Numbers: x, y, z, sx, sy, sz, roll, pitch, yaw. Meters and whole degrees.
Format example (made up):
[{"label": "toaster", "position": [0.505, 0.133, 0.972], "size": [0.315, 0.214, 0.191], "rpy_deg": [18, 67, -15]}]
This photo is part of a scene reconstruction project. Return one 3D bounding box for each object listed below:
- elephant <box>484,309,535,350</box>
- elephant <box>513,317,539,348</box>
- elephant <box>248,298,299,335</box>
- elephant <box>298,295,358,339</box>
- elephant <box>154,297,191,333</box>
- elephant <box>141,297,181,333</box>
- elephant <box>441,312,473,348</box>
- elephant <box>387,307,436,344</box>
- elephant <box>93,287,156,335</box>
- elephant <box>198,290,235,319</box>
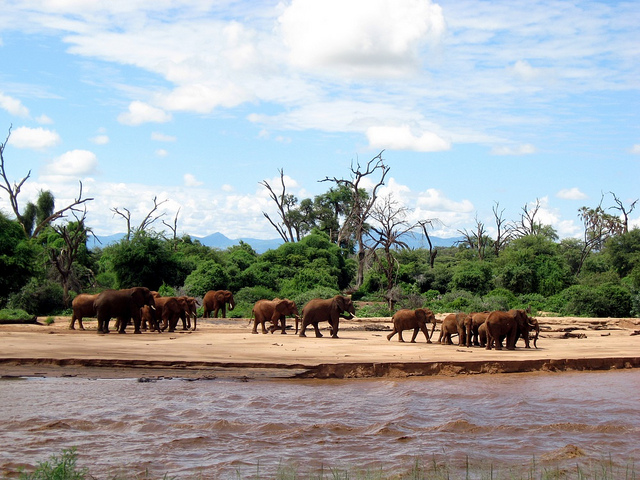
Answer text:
[{"label": "elephant", "position": [6.599, 3.088, 25.437], "size": [2.042, 1.356, 0.975], "rpy_deg": [1, -5, -23]}, {"label": "elephant", "position": [7.330, 3.262, 25.941], "size": [1.380, 1.027, 0.693], "rpy_deg": [-10, -17, 33]}, {"label": "elephant", "position": [-1.835, 3.251, 30.718], "size": [2.398, 1.557, 0.939], "rpy_deg": [0, 0, 5]}, {"label": "elephant", "position": [0.344, 3.084, 29.017], "size": [2.397, 1.632, 1.027], "rpy_deg": [-1, -4, -10]}, {"label": "elephant", "position": [-6.668, 3.183, 31.918], "size": [2.095, 1.543, 1.018], "rpy_deg": [0, -6, 4]}, {"label": "elephant", "position": [-6.809, 3.183, 31.797], "size": [2.353, 1.425, 1.045], "rpy_deg": [5, -2, -37]}, {"label": "elephant", "position": [5.144, 3.254, 26.820], "size": [0.848, 1.133, 1.829], "rpy_deg": [0, -6, -40]}, {"label": "elephant", "position": [3.581, 3.281, 28.170], "size": [2.017, 1.334, 0.955], "rpy_deg": [0, -4, 5]}, {"label": "elephant", "position": [-7.775, 2.780, 28.915], "size": [2.136, 1.792, 1.286], "rpy_deg": [0, 5, -19]}, {"label": "elephant", "position": [-5.593, 3.595, 40.159], "size": [1.633, 1.550, 2.449], "rpy_deg": [0, 4, -10]}]
